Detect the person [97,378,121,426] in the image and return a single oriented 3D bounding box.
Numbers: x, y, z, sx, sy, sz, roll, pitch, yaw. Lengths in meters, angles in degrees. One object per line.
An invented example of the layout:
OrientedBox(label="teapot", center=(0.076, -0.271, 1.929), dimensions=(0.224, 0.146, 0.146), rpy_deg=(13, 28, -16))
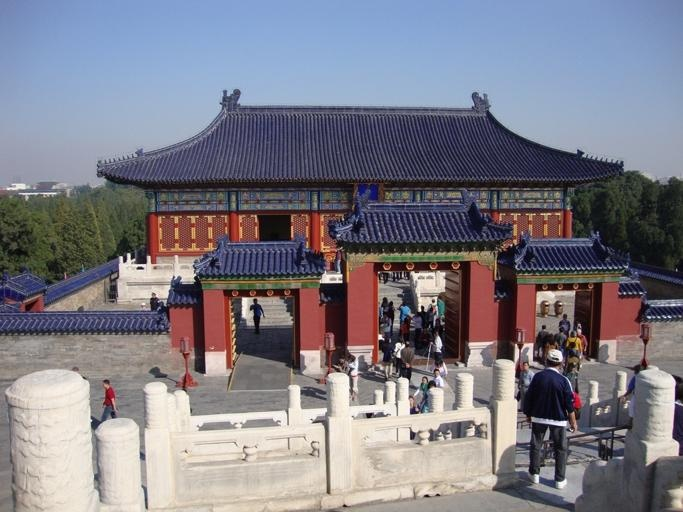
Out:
OrientedBox(label="person", center=(-7.069, 4.477, 33.123), dimensions=(0.657, 1.479, 0.500), rpy_deg=(2, 13, -9))

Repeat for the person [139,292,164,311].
OrientedBox(label="person", center=(-7.796, 1.820, 44.812), dimensions=(0.652, 1.047, 0.358), rpy_deg=(0, -4, -20))

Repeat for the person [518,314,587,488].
OrientedBox(label="person", center=(5.422, 4.264, 28.739), dimensions=(1.253, 3.661, 0.461), rpy_deg=(-1, 1, 12))
